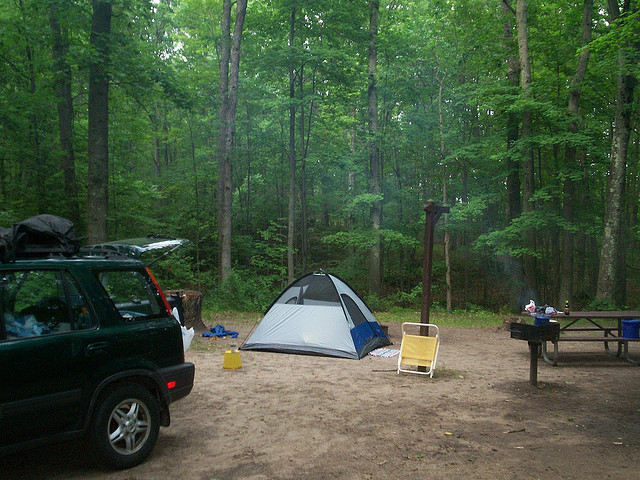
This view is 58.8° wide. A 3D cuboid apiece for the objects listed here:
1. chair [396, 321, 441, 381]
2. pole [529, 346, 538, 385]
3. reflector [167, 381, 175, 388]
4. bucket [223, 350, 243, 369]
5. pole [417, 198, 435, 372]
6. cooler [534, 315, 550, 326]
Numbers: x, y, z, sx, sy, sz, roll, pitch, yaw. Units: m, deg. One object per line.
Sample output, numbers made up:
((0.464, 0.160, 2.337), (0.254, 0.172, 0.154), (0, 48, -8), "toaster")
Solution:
((2.501, 2.857, 14.451), (1.110, 1.502, 1.131), (4, 7, 13), "chair")
((5.009, 2.895, 13.224), (0.192, 0.872, 0.342), (4, 14, 15), "pole")
((-2.814, 2.692, 10.625), (0.142, 0.100, 0.020), (-3, 3, -17), "reflector")
((-2.178, 2.903, 13.976), (0.411, 0.376, 0.405), (-1, 1, 0), "bucket")
((2.837, 1.237, 14.534), (0.384, 4.298, 0.515), (1, 8, -9), "pole")
((5.514, 1.996, 14.085), (0.302, 0.285, 0.306), (-3, -1, 44), "cooler")
